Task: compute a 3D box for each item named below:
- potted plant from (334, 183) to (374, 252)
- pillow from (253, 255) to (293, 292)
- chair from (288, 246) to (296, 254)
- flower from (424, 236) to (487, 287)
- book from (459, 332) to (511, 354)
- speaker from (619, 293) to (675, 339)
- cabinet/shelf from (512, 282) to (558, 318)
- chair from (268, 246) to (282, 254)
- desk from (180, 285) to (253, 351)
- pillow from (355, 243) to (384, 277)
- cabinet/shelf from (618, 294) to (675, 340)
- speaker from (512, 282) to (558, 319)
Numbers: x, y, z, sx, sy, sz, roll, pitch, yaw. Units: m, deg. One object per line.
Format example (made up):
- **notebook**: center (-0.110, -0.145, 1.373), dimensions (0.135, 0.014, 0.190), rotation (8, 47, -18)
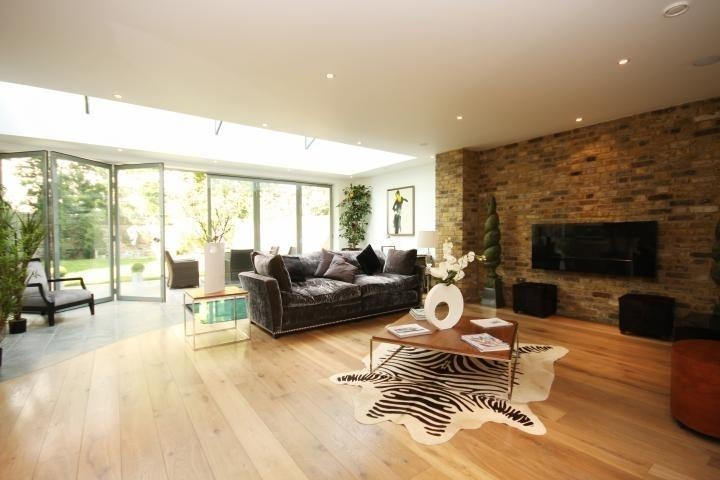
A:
- **potted plant**: center (-0.141, -0.610, 10.998), dimensions (0.673, 1.622, 0.814), rotation (-6, 12, -26)
- **pillow**: center (-1.288, 0.502, 6.157), dimensions (0.199, 0.353, 0.546), rotation (-6, 8, -41)
- **chair**: center (-1.575, 0.255, 9.869), dimensions (0.199, 0.230, 0.250), rotation (-3, 5, -9)
- **flower**: center (1.209, 0.299, 5.163), dimensions (0.405, 0.253, 0.586), rotation (5, -16, -35)
- **book**: center (1.382, 1.138, 4.670), dimensions (0.380, 0.052, 0.483), rotation (-4, 9, -21)
- **speaker**: center (3.983, 1.072, 5.827), dimensions (0.355, 0.544, 0.637), rotation (-5, 6, -42)
- **cabinet/shelf**: center (2.888, 0.904, 7.128), dimensions (0.558, 0.636, 0.740), rotation (-5, 7, -35)
- **chair**: center (-1.954, 0.238, 9.637), dimensions (0.188, 0.164, 0.124), rotation (0, -12, 22)
- **desk**: center (-2.100, 1.075, 6.200), dimensions (1.018, 0.759, 0.903), rotation (-1, 2, -38)
- **pillow**: center (0.177, 0.384, 7.555), dimensions (0.161, 0.481, 0.540), rotation (-24, 9, 46)
- **cabinet/shelf**: center (3.974, 1.082, 5.827), dimensions (0.355, 0.546, 0.638), rotation (-4, 6, -42)
- **speaker**: center (2.889, 0.890, 7.133), dimensions (0.561, 0.639, 0.739), rotation (-5, 7, -34)
